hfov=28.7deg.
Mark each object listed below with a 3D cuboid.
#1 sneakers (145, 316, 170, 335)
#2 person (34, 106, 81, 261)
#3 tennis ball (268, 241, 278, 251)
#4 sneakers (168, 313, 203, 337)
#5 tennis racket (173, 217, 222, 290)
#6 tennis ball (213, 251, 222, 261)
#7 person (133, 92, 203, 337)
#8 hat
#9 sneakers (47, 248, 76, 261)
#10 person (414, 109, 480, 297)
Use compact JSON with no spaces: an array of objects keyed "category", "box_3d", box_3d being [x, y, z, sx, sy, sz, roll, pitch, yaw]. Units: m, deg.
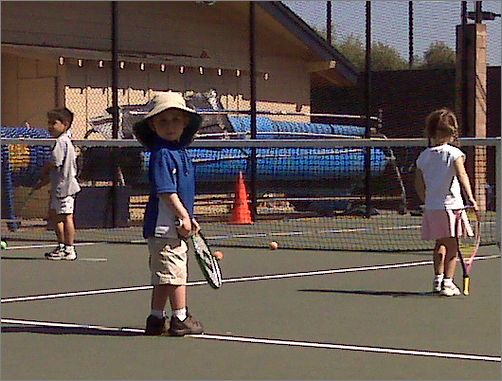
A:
[{"category":"sneakers","box_3d":[-0.880,1.279,9.175,0.180,0.201,0.169,0,0,16]},{"category":"person","box_3d":[-2.566,-0.078,13.079,0.509,2.049,0.494,-1,4,-13]},{"category":"tennis ball","box_3d":[0.309,0.840,14.385,0.093,0.103,0.133,-12,13,19]},{"category":"sneakers","box_3d":[-0.616,1.281,9.162,0.381,0.245,0.144,0,-1,-22]},{"category":"tennis racket","box_3d":[-0.572,0.703,10.300,0.101,0.951,0.373,-21,29,14]},{"category":"tennis ball","box_3d":[-0.316,0.631,9.349,0.059,0.043,0.089,11,31,-5]},{"category":"person","box_3d":[-0.761,0.224,9.103,0.610,2.260,0.527,-1,4,-5]},{"category":"hat","box_3d":[-0.789,-0.685,9.119,0.477,0.619,0.309,-2,44,-13]},{"category":"sneakers","box_3d":[-2.513,0.858,13.153,0.423,0.230,0.162,3,-3,5]},{"category":"person","box_3d":[2.108,0.140,10.631,0.690,2.036,0.407,1,4,22]}]
